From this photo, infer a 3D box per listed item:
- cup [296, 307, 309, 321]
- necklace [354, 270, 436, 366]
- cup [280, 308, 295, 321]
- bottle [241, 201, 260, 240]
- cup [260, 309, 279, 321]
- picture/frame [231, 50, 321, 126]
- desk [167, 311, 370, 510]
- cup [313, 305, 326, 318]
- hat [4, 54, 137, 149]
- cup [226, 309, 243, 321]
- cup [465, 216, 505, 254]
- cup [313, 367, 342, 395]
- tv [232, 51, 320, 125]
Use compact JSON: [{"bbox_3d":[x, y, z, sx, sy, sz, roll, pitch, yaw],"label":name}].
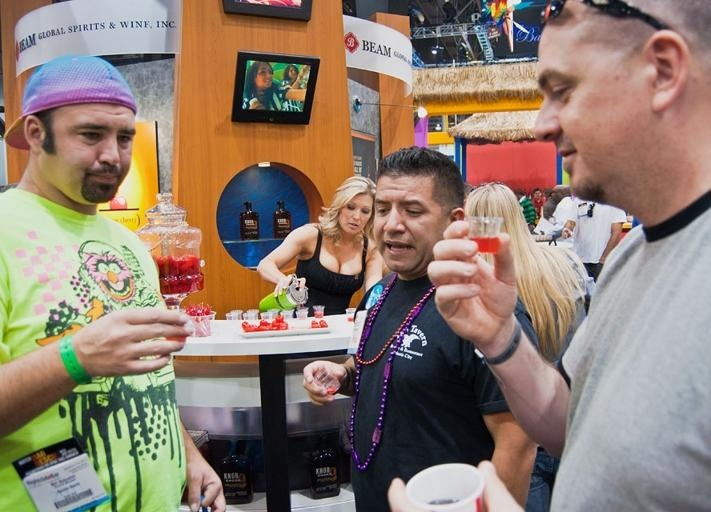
[{"bbox_3d":[-0.347,0.380,3.936,0.070,0.074,0.072,2,-1,0],"label":"cup"},{"bbox_3d":[0.163,0.259,2.173,0.016,0.337,0.235,36,-18,-17],"label":"necklace"},{"bbox_3d":[-0.442,0.378,3.893,0.072,0.059,0.074,-2,-2,0],"label":"cup"},{"bbox_3d":[-0.964,-0.325,5.426,0.166,0.342,0.106,-5,6,-20],"label":"bottle"},{"bbox_3d":[-0.533,0.366,3.740,0.072,0.072,0.079,0,-2,0],"label":"cup"},{"bbox_3d":[-0.687,-1.421,4.910,0.600,0.503,0.080,6,15,-24],"label":"picture/frame"},{"bbox_3d":[-0.530,0.908,3.695,1.063,1.272,1.090,2,5,39],"label":"desk"},{"bbox_3d":[-0.243,0.370,3.988,0.097,0.085,0.102,0,-4,0],"label":"cup"},{"bbox_3d":[-1.002,-0.529,2.050,0.353,0.203,0.261,1,5,20],"label":"hat"},{"bbox_3d":[-0.820,0.384,4.067,0.091,0.073,0.094,-1,1,0],"label":"cup"},{"bbox_3d":[0.358,-0.058,1.583,0.089,0.098,0.086,0,2,0],"label":"cup"},{"bbox_3d":[-0.107,0.501,2.421,0.106,0.089,0.091,44,12,10],"label":"cup"},{"bbox_3d":[-0.686,-1.417,4.907,0.566,0.485,0.079,7,14,-23],"label":"tv"}]
